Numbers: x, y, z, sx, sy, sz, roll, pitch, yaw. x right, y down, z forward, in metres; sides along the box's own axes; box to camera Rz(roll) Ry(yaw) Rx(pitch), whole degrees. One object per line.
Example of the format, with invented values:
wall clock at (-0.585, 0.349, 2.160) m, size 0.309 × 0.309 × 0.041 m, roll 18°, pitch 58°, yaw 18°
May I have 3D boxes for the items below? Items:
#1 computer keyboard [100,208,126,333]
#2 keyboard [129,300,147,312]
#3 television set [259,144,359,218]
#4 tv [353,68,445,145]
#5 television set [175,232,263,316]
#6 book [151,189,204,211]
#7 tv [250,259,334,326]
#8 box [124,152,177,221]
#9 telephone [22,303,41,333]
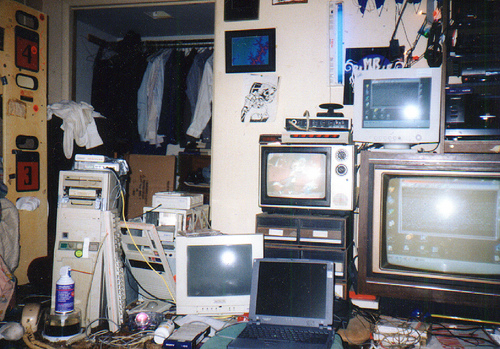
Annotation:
computer keyboard at (-1.024, 0.731, 3.801) m, size 0.233 × 0.917 × 0.275 m, roll 1°, pitch -1°, yaw -38°
keyboard at (-0.886, 1.046, 3.855) m, size 0.113 × 0.044 × 0.247 m, roll 1°, pitch -1°, yaw -3°
television set at (0.443, 0.027, 3.821) m, size 0.879 × 0.667 × 0.528 m, roll 1°, pitch -2°, yaw 13°
tv at (1.118, -0.494, 3.765) m, size 0.630 × 0.588 × 0.352 m, roll 1°, pitch -8°, yaw 14°
television set at (-0.213, 0.796, 3.838) m, size 0.670 × 0.588 × 0.372 m, roll -3°, pitch -12°, yaw 5°
book at (-0.621, 0.230, 4.203) m, size 0.418 × 0.148 × 0.250 m, roll 1°, pitch -1°, yaw -8°
tv at (0.314, 0.855, 3.457) m, size 0.450 × 0.326 × 0.033 m, roll 0°, pitch -19°, yaw 13°
box at (-1.162, 0.118, 5.645) m, size 0.615 × 0.767 × 0.298 m, roll 1°, pitch -1°, yaw -8°
telephone at (-1.669, 1.082, 3.692) m, size 0.137 × 0.077 × 0.263 m, roll 2°, pitch 17°, yaw -23°
